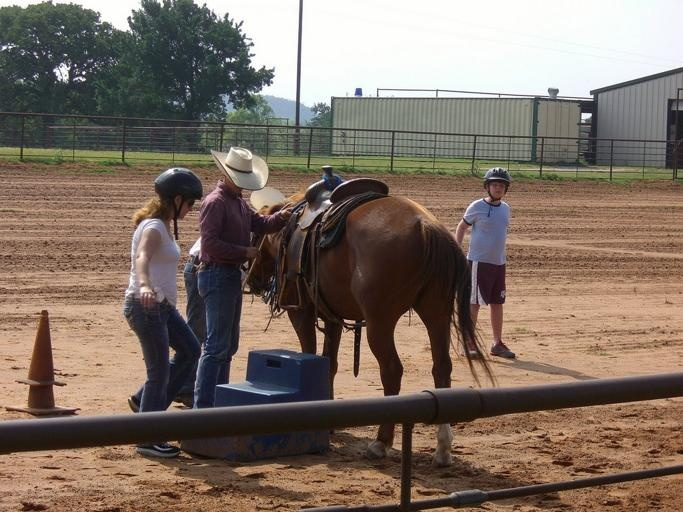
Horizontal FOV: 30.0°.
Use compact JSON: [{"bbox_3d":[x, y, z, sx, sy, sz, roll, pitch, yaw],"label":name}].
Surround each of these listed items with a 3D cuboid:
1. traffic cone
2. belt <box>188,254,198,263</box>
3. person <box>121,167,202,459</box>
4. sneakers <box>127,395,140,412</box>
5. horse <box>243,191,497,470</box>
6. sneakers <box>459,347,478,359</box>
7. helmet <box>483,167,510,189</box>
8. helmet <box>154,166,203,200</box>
[{"bbox_3d":[-3.977,1.418,16.885,0.881,1.360,0.462,3,5,22],"label":"traffic cone"},{"bbox_3d":[-2.030,0.026,17.473,0.098,0.071,0.099,-1,-2,30],"label":"belt"},{"bbox_3d":[-2.282,0.709,16.307,0.970,3.651,0.982,1,5,-7],"label":"person"},{"bbox_3d":[-2.725,1.951,16.719,0.132,0.315,0.177,-4,4,-24],"label":"sneakers"},{"bbox_3d":[0.068,0.732,17.718,1.480,3.961,5.632,1,-3,-33],"label":"horse"},{"bbox_3d":[1.660,1.252,16.577,0.181,0.201,0.526,4,-7,4],"label":"sneakers"},{"bbox_3d":[2.366,-1.197,19.413,0.285,0.270,0.368,3,-10,-1],"label":"helmet"},{"bbox_3d":[-2.082,-0.912,16.304,0.539,0.426,0.396,8,5,-10],"label":"helmet"}]
